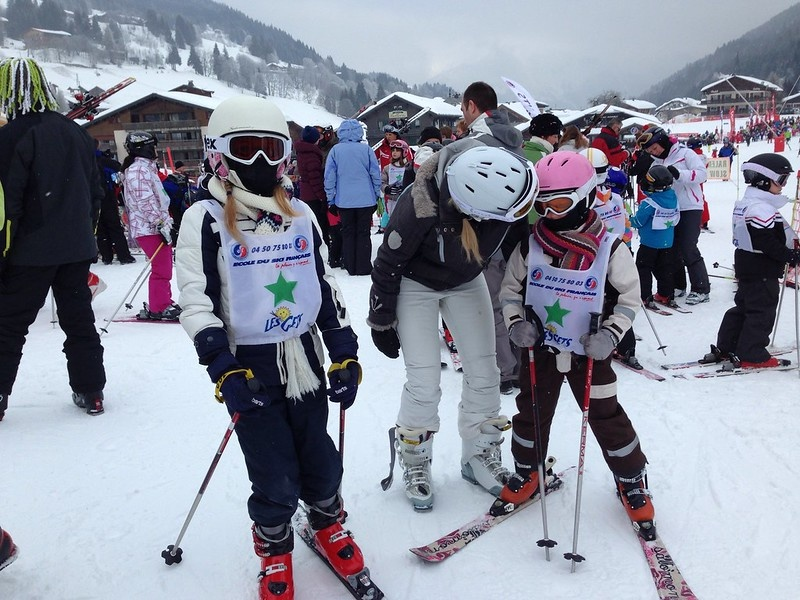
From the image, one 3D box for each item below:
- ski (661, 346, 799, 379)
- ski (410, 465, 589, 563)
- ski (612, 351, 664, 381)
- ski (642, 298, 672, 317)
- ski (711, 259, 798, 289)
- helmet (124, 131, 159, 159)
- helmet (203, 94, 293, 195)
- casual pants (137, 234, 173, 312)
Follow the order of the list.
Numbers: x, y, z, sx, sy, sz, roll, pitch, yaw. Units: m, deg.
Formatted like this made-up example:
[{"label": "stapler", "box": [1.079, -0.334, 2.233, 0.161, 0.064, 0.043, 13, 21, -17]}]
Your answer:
[{"label": "ski", "box": [3.011, 0.576, 5.572, 0.689, 0.062, 0.212, -7, 23, 8]}, {"label": "ski", "box": [0.631, 1.384, 3.921, 1.260, 0.103, 0.144, -25, 28, -37]}, {"label": "ski", "box": [2.151, 0.613, 5.615, 0.096, 0.107, 0.729, -19, 27, -5]}, {"label": "ski", "box": [2.918, 0.089, 7.033, 0.075, 0.104, 0.277, -10, 29, -10]}, {"label": "ski", "box": [3.495, -0.239, 6.077, 0.520, 0.226, 0.345, -2, 18, 7]}, {"label": "helmet", "box": [-2.792, -1.698, 6.760, 0.322, 0.275, 0.267, -25, 48, -34]}, {"label": "helmet", "box": [-0.874, -0.920, 3.557, 0.433, 0.490, 0.521, -9, 34, -29]}, {"label": "casual pants", "box": [-2.824, -0.297, 7.131, 0.247, 0.858, 0.232, -22, 67, -22]}]
